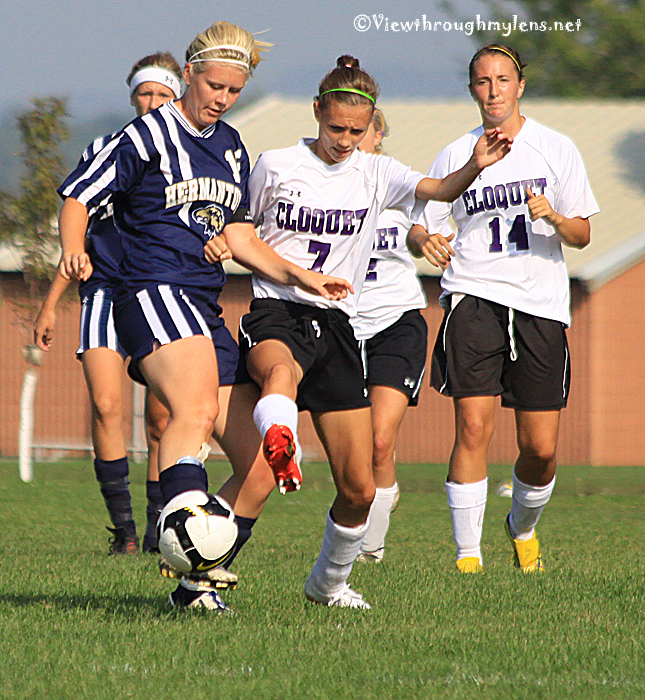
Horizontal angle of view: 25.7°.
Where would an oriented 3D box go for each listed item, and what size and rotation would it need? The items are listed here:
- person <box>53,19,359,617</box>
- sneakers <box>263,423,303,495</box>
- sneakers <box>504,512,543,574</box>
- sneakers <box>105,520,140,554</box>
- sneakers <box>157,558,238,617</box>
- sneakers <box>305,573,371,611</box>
[{"bbox_3d":[-0.505,-0.216,5.520,0.997,2.144,1.137,-3,9,-21],"label":"person"},{"bbox_3d":[-0.120,0.388,5.121,0.130,0.232,0.085,-25,-8,34],"label":"sneakers"},{"bbox_3d":[1.056,0.995,7.395,0.110,0.324,0.124,-9,-7,1],"label":"sneakers"},{"bbox_3d":[-1.123,1.075,8.032,0.215,0.202,0.116,0,-5,-4],"label":"sneakers"},{"bbox_3d":[-0.480,0.970,5.653,0.271,0.199,0.389,-2,0,28],"label":"sneakers"},{"bbox_3d":[0.060,1.017,5.991,0.287,0.119,0.103,4,4,12],"label":"sneakers"}]
